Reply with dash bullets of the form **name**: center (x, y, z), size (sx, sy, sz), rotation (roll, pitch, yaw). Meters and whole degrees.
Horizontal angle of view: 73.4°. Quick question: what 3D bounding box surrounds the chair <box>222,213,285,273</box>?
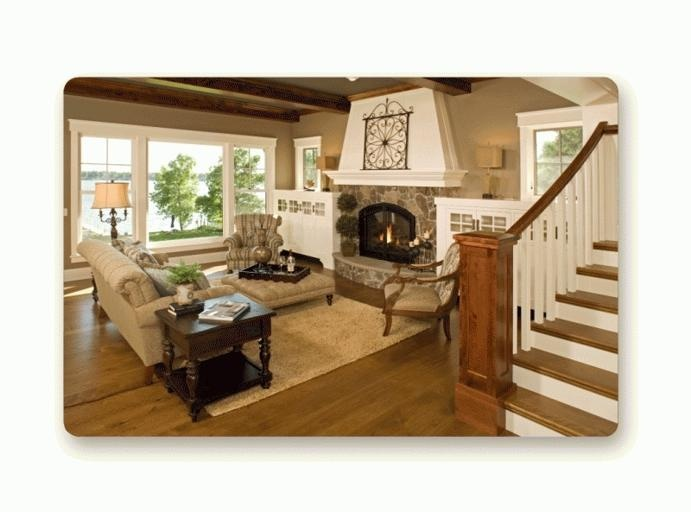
- **chair**: center (-1.611, -0.189, 7.580), size (1.089, 1.062, 1.009), rotation (0, 0, -3)

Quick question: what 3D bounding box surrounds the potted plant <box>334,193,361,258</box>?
- **potted plant**: center (0.035, -0.544, 7.893), size (0.397, 1.048, 0.467), rotation (-2, 10, -11)

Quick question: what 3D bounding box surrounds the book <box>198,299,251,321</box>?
- **book**: center (-0.958, 0.446, 3.778), size (0.320, 0.079, 0.436), rotation (3, 9, 18)

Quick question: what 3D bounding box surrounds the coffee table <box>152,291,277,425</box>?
- **coffee table**: center (-1.052, 0.766, 3.817), size (0.778, 0.746, 0.714), rotation (-8, 12, -38)

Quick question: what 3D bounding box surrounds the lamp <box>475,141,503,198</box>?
- **lamp**: center (1.889, -1.128, 6.122), size (0.366, 0.707, 0.282), rotation (8, 13, 42)

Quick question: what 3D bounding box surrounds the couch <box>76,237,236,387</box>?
- **couch**: center (-1.965, 0.380, 4.710), size (1.124, 0.937, 2.110), rotation (-5, 14, -37)
